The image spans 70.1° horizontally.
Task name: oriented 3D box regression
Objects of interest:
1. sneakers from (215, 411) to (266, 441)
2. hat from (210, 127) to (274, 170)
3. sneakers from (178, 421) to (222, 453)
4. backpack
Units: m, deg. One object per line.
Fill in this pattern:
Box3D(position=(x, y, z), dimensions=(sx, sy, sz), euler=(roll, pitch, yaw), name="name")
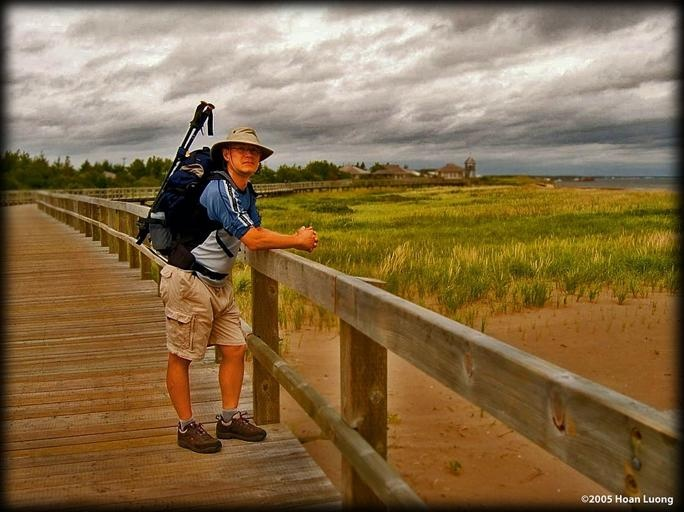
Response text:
Box3D(position=(-0.730, 1.229, 3.554), dimensions=(0.414, 0.212, 0.158), euler=(3, -1, 1), name="sneakers")
Box3D(position=(-0.674, -0.764, 3.300), dimensions=(0.385, 0.153, 0.338), euler=(-3, -6, -6), name="hat")
Box3D(position=(-1.002, 1.248, 3.372), dimensions=(0.372, 0.172, 0.137), euler=(-3, -3, 37), name="sneakers")
Box3D(position=(-0.942, -0.331, 3.171), dimensions=(0.427, 0.819, 0.635), euler=(10, 6, -8), name="backpack")
